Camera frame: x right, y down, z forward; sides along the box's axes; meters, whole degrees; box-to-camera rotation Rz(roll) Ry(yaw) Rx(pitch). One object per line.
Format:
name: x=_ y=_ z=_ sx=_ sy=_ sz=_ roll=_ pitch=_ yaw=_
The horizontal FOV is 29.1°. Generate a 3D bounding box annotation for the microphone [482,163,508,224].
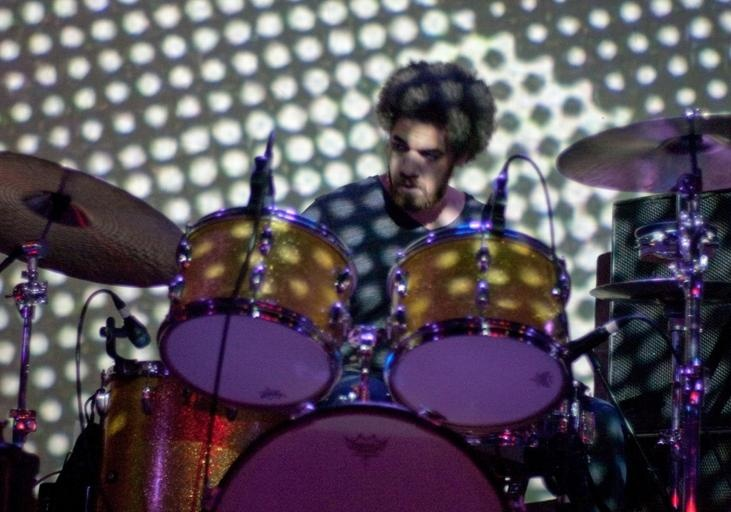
microphone: x=0.405 y=-0.186 z=4.469 sx=0.082 sy=0.143 sz=0.200 roll=0 pitch=0 yaw=4

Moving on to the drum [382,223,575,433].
drum: x=0.344 y=0.234 z=4.475 sx=0.610 sy=0.584 sz=0.410 roll=-1 pitch=39 yaw=5

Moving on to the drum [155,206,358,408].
drum: x=-0.330 y=0.147 z=4.382 sx=0.623 sy=0.590 sz=0.416 roll=8 pitch=40 yaw=-3

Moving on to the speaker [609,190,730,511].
speaker: x=1.074 y=0.332 z=5.033 sx=0.430 sy=0.888 sz=0.237 roll=0 pitch=0 yaw=14

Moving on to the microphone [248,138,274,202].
microphone: x=-0.322 y=-0.265 z=4.409 sx=0.076 sy=0.231 sz=0.185 roll=0 pitch=0 yaw=-4

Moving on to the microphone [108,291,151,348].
microphone: x=-0.789 y=0.213 z=4.758 sx=0.123 sy=0.187 sz=0.193 roll=0 pitch=0 yaw=-10

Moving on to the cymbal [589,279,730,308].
cymbal: x=1.020 y=0.124 z=4.856 sx=0.479 sy=0.072 sz=0.294 roll=0 pitch=0 yaw=3
